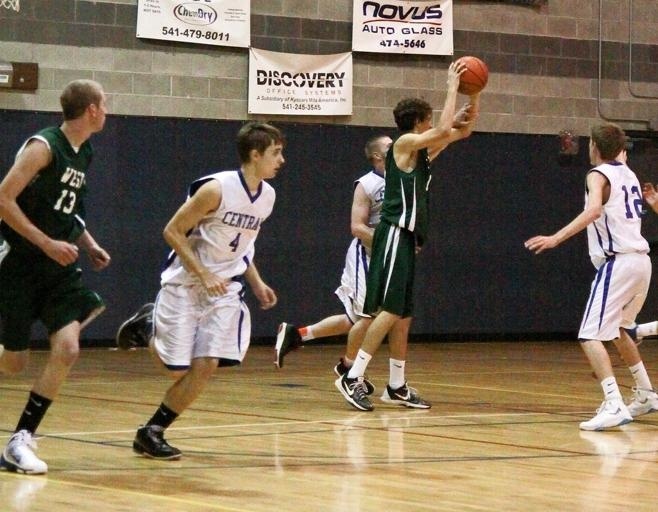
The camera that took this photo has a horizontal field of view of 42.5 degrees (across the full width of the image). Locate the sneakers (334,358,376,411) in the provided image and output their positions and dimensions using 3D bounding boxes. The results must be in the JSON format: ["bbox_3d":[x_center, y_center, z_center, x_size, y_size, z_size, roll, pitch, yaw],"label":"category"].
[{"bbox_3d":[0.154,0.884,5.729,0.413,0.177,0.150,47,7,35],"label":"sneakers"}]

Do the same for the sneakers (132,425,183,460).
[{"bbox_3d":[-0.819,0.895,4.024,0.300,0.151,0.105,4,-6,35],"label":"sneakers"}]

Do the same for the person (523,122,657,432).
[{"bbox_3d":[1.706,0.139,5.133,0.994,1.875,0.602,-5,12,-44],"label":"person"}]

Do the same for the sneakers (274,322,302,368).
[{"bbox_3d":[-0.299,0.621,6.162,0.159,0.415,0.133,7,1,7],"label":"sneakers"}]

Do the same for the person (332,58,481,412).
[{"bbox_3d":[0.510,-0.105,5.638,0.753,2.455,0.608,5,8,9],"label":"person"}]

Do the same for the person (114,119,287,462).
[{"bbox_3d":[-0.567,0.173,4.036,0.672,1.644,0.445,1,9,-15],"label":"person"}]

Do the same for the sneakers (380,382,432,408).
[{"bbox_3d":[0.525,0.974,5.813,0.361,0.180,0.140,9,-11,19],"label":"sneakers"}]
